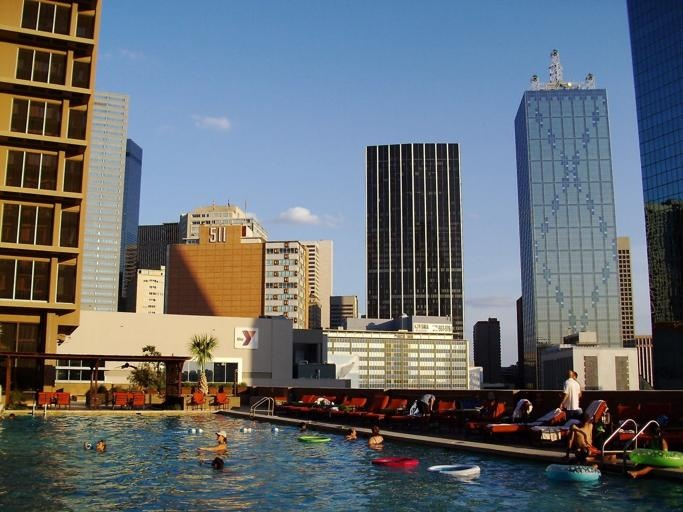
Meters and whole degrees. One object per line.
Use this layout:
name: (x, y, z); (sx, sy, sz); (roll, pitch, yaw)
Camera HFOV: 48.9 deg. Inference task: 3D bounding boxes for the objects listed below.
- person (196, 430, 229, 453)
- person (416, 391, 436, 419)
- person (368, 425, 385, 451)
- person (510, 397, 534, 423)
person: (-5.791, 8.287, 33.777); (1.222, 0.862, 0.610); (-5, -9, 29)
person: (4.246, 7.608, 38.887); (0.797, 1.329, 1.066); (6, -8, -21)
person: (1.577, 8.519, 35.381); (0.946, 1.158, 0.454); (-2, -30, 0)
person: (8.539, 7.112, 35.279); (0.969, 1.659, 1.213); (7, -14, 7)
